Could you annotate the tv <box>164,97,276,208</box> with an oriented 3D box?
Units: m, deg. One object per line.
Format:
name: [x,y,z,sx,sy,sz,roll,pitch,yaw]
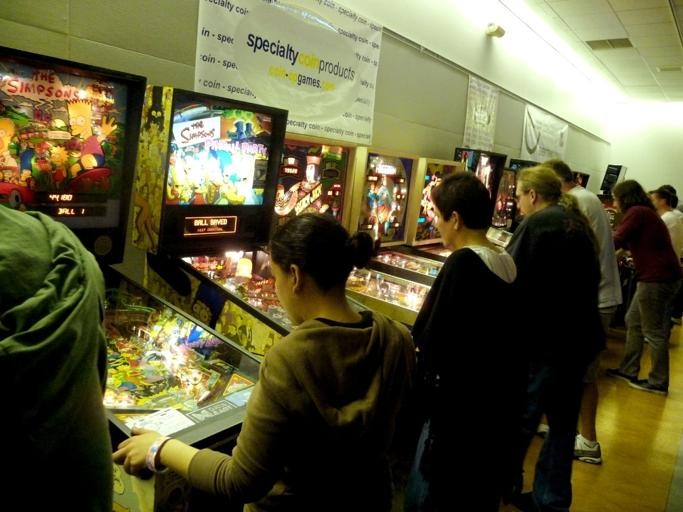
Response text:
tv: [-0.661,-0.553,2.562,0.087,0.550,0.654,17,14,40]

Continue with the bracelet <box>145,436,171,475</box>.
bracelet: [-0.582,0.636,1.529,0.039,0.078,0.108,4,46,-1]

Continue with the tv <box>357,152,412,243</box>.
tv: [0.317,-0.476,3.736,0.097,0.685,0.748,13,4,30]

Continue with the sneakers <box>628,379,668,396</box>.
sneakers: [2.910,1.263,4.654,0.324,0.133,0.121,12,-13,20]
